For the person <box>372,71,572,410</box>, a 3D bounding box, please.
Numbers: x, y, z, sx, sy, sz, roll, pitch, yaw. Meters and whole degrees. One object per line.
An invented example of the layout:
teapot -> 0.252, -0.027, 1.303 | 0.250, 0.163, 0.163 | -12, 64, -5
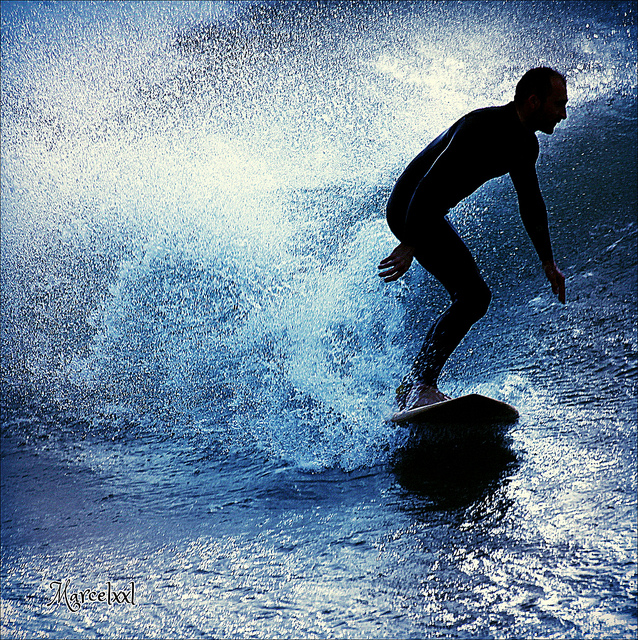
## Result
person -> 0.488, -0.225, 3.110 | 0.611, 0.896, 0.421 | -8, -12, 4

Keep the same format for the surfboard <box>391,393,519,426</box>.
surfboard -> 0.432, 0.280, 3.116 | 0.244, 0.064, 0.148 | 1, 0, 3
